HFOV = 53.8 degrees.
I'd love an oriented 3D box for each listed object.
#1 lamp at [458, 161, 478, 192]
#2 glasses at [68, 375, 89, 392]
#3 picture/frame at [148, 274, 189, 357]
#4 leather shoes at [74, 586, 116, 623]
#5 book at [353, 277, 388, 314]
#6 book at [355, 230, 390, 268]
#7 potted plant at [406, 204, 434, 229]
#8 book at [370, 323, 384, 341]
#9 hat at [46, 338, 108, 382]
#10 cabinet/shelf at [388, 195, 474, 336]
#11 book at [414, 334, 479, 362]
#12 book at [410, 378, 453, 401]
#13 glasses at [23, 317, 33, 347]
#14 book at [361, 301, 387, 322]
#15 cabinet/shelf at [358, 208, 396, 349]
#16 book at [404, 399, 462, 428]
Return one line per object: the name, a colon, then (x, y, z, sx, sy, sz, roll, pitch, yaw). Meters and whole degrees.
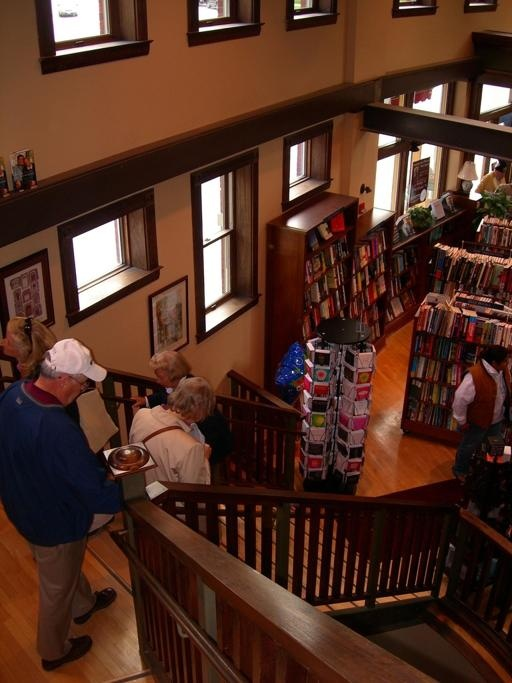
lamp: (4.337, -3.389, 10.349, 0.395, 0.669, 0.818, 7, 13, 20)
glasses: (-0.637, 0.157, 1.800, 0.059, 0.018, 0.058, 32, 19, 19)
picture/frame: (-0.972, -0.317, 5.458, 0.032, 0.824, 0.706, 13, 25, 23)
leather shoes: (-0.728, 1.224, 2.314, 0.067, 0.084, 0.194, 23, 36, 26)
book: (1.903, -0.807, 8.486, 0.145, 0.231, 0.645, 22, 45, 35)
book: (1.870, -1.544, 8.187, 0.258, 0.254, 0.664, 11, 44, 32)
potted plant: (3.096, -2.321, 9.471, 0.497, 0.478, 0.358, 4, 12, 7)
book: (2.103, -0.187, 8.806, 0.071, 0.208, 0.223, 17, 48, 32)
hat: (-0.638, 0.057, 1.813, 0.222, 0.130, 0.149, 12, 14, -40)
cabinet/shelf: (2.914, -1.294, 8.642, 0.408, 1.498, 2.568, 22, 52, 28)
book: (2.463, 0.094, 6.568, 0.409, 0.182, 0.529, 14, 22, 26)
book: (2.413, 0.680, 6.895, 0.354, 0.128, 0.372, 17, 32, 30)
glasses: (-1.122, -0.063, 2.475, 0.026, 0.103, 0.073, 1, 38, -26)
book: (2.025, -0.541, 8.741, 0.112, 0.328, 0.355, 25, 45, 35)
cabinet/shelf: (1.981, -1.121, 8.336, 0.431, 2.266, 1.355, 13, 47, 21)
book: (2.455, 0.957, 7.069, 0.517, 0.178, 0.409, 9, 12, 31)
